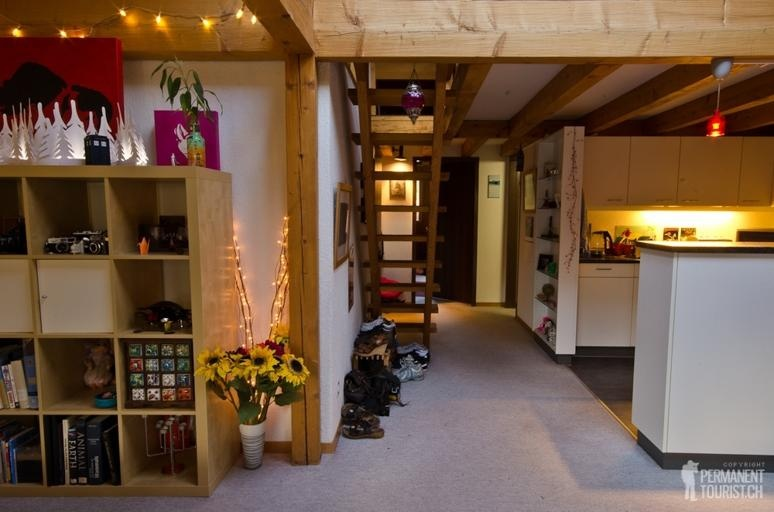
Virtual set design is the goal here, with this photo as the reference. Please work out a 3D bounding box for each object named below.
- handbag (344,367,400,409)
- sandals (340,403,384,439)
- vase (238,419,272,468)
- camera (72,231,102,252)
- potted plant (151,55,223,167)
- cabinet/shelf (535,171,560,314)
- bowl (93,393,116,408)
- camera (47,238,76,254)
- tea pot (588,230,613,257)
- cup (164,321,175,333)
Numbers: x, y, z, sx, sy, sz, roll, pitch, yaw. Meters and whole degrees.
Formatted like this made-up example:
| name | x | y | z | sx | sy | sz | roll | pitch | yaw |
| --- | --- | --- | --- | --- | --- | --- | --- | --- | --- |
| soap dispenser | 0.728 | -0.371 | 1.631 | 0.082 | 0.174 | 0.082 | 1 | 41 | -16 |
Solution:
| name | x | y | z | sx | sy | sz | roll | pitch | yaw |
| --- | --- | --- | --- | --- | --- | --- | --- | --- | --- |
| handbag | -0.178 | 1.304 | 5.784 | 0.401 | 0.178 | 0.400 | 0 | 4 | 9 |
| sandals | -0.235 | 1.536 | 5.462 | 0.425 | 0.176 | 0.195 | 0 | 8 | 3 |
| vase | -1.209 | 1.588 | 5.192 | 0.342 | 0.513 | 0.325 | -1 | 5 | -18 |
| camera | -2.396 | -0.106 | 4.708 | 0.236 | 0.155 | 0.156 | 1 | 2 | -2 |
| potted plant | -1.730 | -1.182 | 4.878 | 0.575 | 0.954 | 0.429 | -2 | 3 | 7 |
| cabinet/shelf | 2.045 | -0.195 | 7.510 | 0.287 | 1.740 | 0.671 | -2 | 3 | 9 |
| bowl | -2.282 | 1.161 | 4.750 | 0.122 | 0.042 | 0.119 | 4 | 7 | 0 |
| camera | -2.626 | -0.079 | 4.717 | 0.239 | 0.128 | 0.060 | -2 | 3 | 9 |
| tea pot | 2.765 | -0.158 | 7.624 | 0.294 | 0.324 | 0.515 | -1 | 2 | 21 |
| cup | -1.749 | 0.577 | 4.730 | 0.101 | 0.099 | 0.064 | 3 | 1 | 3 |
